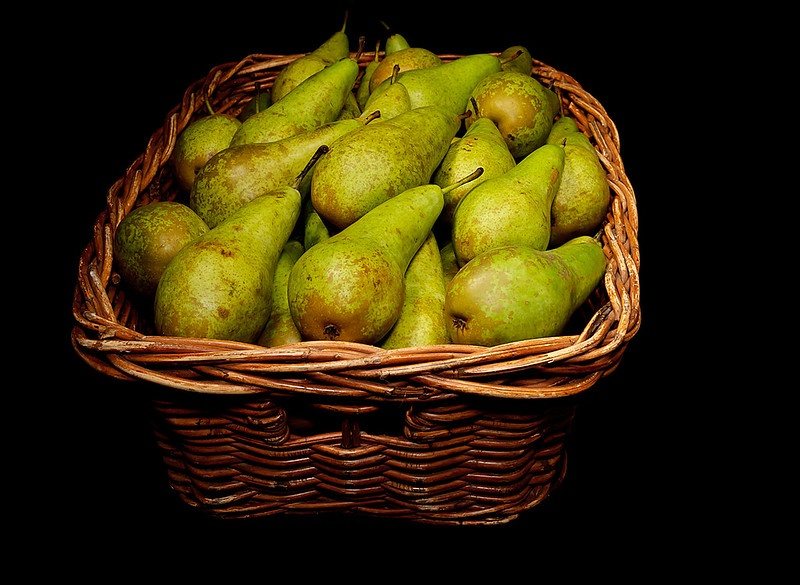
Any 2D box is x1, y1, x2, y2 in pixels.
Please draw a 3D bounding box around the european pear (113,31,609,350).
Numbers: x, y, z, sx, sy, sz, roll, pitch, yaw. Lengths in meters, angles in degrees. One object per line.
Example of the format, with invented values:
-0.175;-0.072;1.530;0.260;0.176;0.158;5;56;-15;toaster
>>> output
-0.053;-0.183;2.212;0.800;0.343;0.933;-1;33;2;european pear
